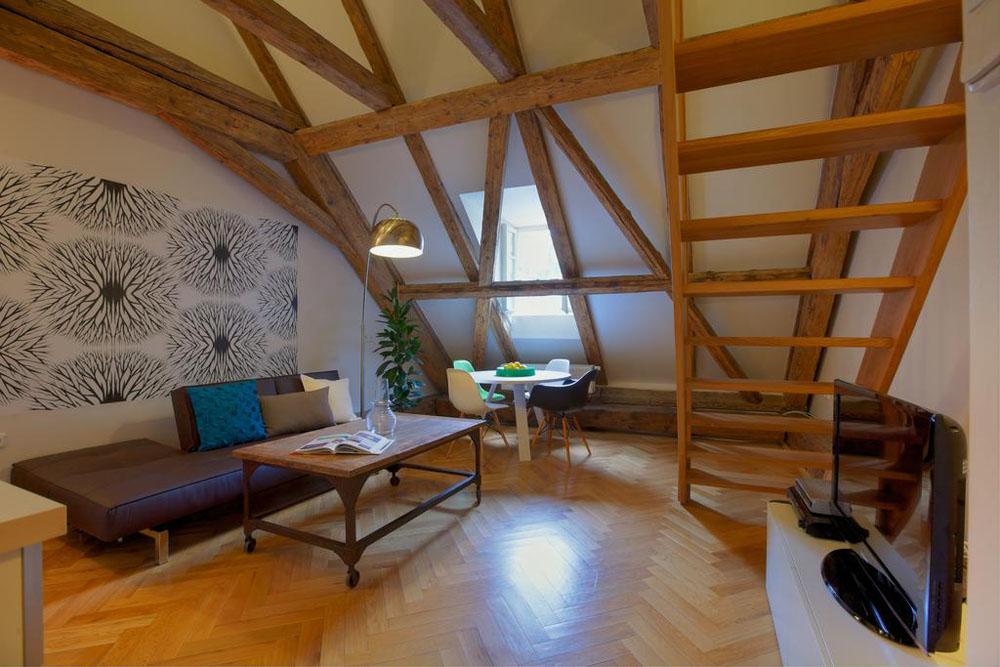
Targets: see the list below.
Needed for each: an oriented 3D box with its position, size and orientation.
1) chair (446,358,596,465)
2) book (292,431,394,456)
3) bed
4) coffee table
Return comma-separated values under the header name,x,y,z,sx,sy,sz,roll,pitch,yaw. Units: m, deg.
name,x,y,z,sx,sy,sz,roll,pitch,yaw
chair,0.156,0.692,5.921,1.099,0.642,1.097,-6,-8,33
book,-0.998,0.727,4.089,0.591,0.139,0.408,-4,0,3
bed,-2.337,0.874,4.132,0.966,0.513,1.295,3,0,30
coffee table,-0.922,1.086,4.296,0.984,0.984,1.431,-3,1,37
